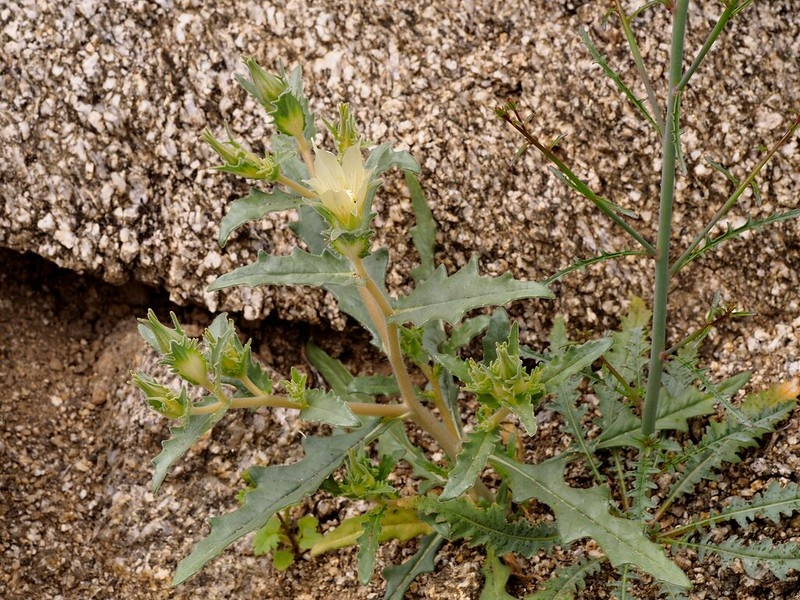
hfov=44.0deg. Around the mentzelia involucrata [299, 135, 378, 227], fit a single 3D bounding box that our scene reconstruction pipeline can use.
[{"bbox_3d":[-0.199,-0.392,3.244,0.219,0.155,0.257,19,66,8],"label":"mentzelia involucrata"}]
